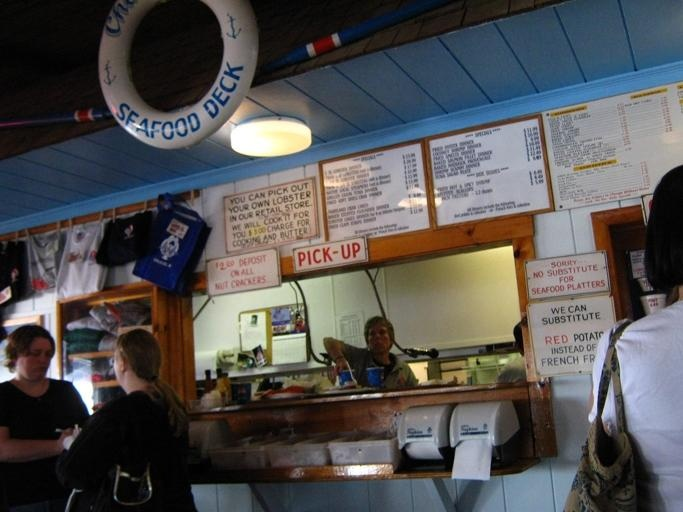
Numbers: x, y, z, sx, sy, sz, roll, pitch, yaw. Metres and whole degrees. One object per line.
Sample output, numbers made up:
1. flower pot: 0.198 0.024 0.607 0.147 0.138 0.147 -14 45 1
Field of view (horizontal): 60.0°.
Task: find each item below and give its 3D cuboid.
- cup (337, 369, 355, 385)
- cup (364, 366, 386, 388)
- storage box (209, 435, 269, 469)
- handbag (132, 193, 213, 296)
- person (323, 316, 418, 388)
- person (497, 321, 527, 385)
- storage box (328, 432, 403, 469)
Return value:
1. cup: 0.029 0.849 4.210 0.091 0.166 0.101 1 -6 -15
2. cup: 0.225 0.812 4.057 0.142 0.159 0.148 0 -9 0
3. storage box: -0.638 1.262 3.755 0.423 0.152 0.146 -7 -8 26
4. handbag: -1.240 -0.060 4.409 0.482 0.666 0.222 22 -4 9
5. person: 0.289 0.828 5.132 0.385 0.606 0.732 2 -9 -35
6. person: 1.165 0.644 4.091 0.195 0.417 1.159 -5 -7 14
7. storage box: 0.110 1.118 3.407 0.447 0.152 0.091 -7 -8 26
